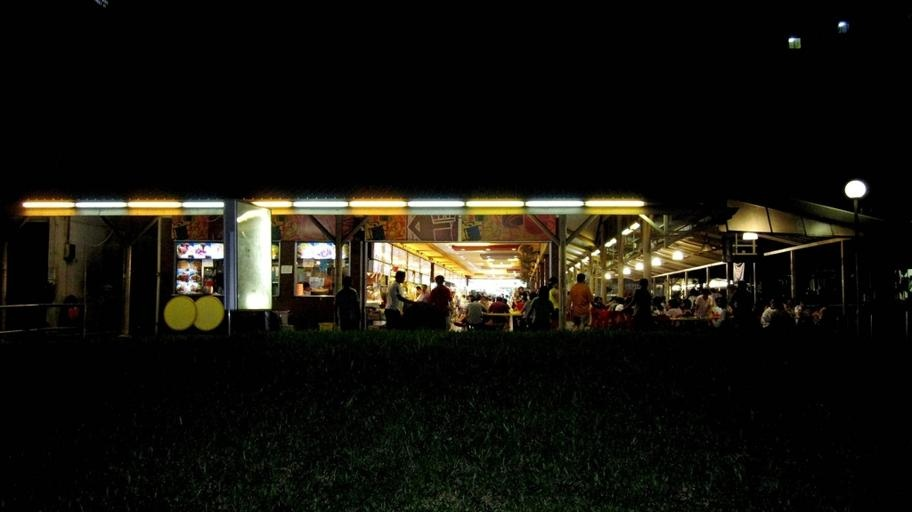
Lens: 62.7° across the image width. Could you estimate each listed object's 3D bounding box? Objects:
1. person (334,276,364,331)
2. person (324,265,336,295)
[{"bbox_3d":[-2.569,1.104,17.708,0.540,1.247,0.796,1,1,-9],"label":"person"},{"bbox_3d":[-3.895,0.740,23.109,0.314,0.889,0.120,1,1,27],"label":"person"}]
